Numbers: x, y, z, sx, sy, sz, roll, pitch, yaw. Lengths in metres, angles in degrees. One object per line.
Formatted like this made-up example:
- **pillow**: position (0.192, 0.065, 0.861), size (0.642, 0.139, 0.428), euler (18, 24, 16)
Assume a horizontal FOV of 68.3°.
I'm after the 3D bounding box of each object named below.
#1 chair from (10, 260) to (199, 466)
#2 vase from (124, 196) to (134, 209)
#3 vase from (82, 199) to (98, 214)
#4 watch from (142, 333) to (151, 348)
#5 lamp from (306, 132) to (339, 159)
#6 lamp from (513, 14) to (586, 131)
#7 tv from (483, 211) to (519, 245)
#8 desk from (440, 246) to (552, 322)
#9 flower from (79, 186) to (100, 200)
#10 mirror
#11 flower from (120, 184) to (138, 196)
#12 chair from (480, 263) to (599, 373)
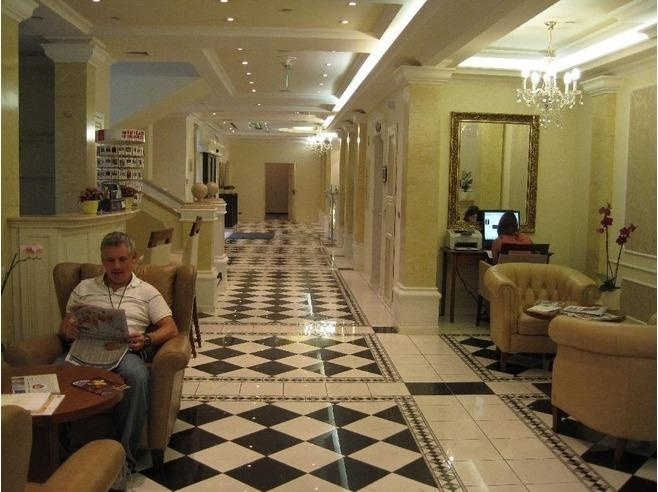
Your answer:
- **chair**: position (-1.472, 0.760, 4.029), size (1.637, 1.772, 1.422), euler (-1, -3, 4)
- **vase**: position (-2.867, -0.612, 6.843), size (0.139, 0.144, 0.137), euler (-1, 1, 28)
- **vase**: position (-2.847, -0.464, 5.767), size (0.172, 0.127, 0.174), euler (12, 16, 34)
- **watch**: position (-1.374, 0.712, 3.618), size (0.061, 0.092, 0.084), euler (-1, 8, -23)
- **lamp**: position (-0.231, -3.763, 17.492), size (1.030, 1.557, 1.116), euler (0, 4, -9)
- **lamp**: position (2.965, -2.154, 6.503), size (0.890, 1.153, 2.340), euler (5, 5, 26)
- **tv**: position (2.508, -0.278, 7.031), size (0.499, 0.503, 0.268), euler (-1, 5, 0)
- **desk**: position (2.536, 0.467, 6.921), size (0.768, 0.913, 1.243), euler (-15, 9, -33)
- **flower**: position (-2.880, -0.620, 5.772), size (0.180, 0.125, 0.182), euler (-1, 2, 27)
- **mirror**: position (2.430, -1.192, 7.309), size (1.812, 2.447, 0.105), euler (1, 0, -9)
- **flower**: position (-2.870, -0.777, 6.879), size (0.198, 0.136, 0.198), euler (1, 1, -1)
- **chair**: position (2.447, 0.775, 5.756), size (1.266, 1.157, 1.141), euler (0, -4, 3)
